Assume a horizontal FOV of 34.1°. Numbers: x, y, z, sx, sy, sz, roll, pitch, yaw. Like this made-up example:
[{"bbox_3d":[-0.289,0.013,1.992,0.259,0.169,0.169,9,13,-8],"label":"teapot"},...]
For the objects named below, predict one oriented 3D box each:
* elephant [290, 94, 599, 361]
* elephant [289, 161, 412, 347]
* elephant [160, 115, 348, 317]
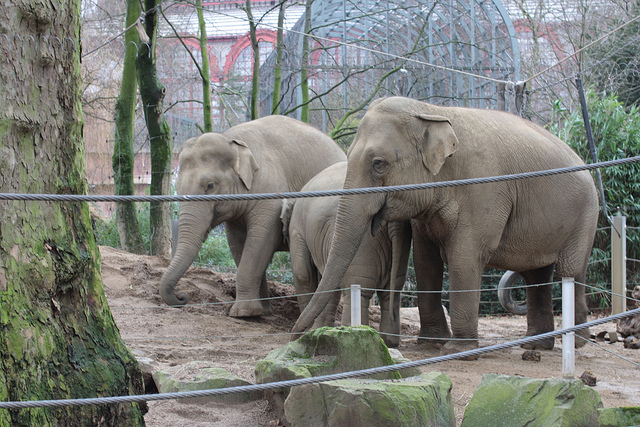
[{"bbox_3d":[1.561,0.217,12.030,3.796,3.058,1.644,1,6,-20],"label":"elephant"},{"bbox_3d":[0.169,0.443,12.737,1.168,2.164,2.379,-1,6,-36],"label":"elephant"},{"bbox_3d":[-0.818,0.042,13.865,2.976,2.718,1.257,-2,0,-37],"label":"elephant"}]
